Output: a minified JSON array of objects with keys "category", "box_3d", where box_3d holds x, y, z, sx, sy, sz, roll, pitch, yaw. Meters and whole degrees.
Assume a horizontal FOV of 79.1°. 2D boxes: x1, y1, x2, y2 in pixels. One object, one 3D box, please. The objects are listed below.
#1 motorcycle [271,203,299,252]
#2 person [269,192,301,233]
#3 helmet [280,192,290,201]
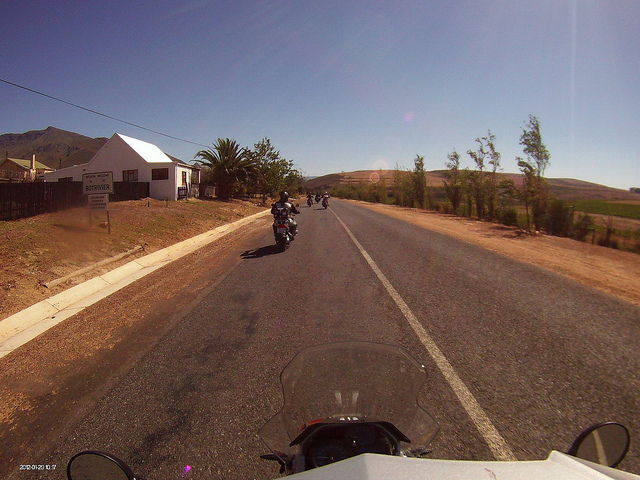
[{"category":"motorcycle","box_3d":[-1.210,-0.048,13.101,0.897,1.359,2.328,0,-11,-3]},{"category":"person","box_3d":[-1.304,-0.960,12.876,0.861,1.070,1.621,1,13,6]},{"category":"helmet","box_3d":[-1.136,-1.422,12.476,0.206,0.274,0.255,9,21,25]}]
